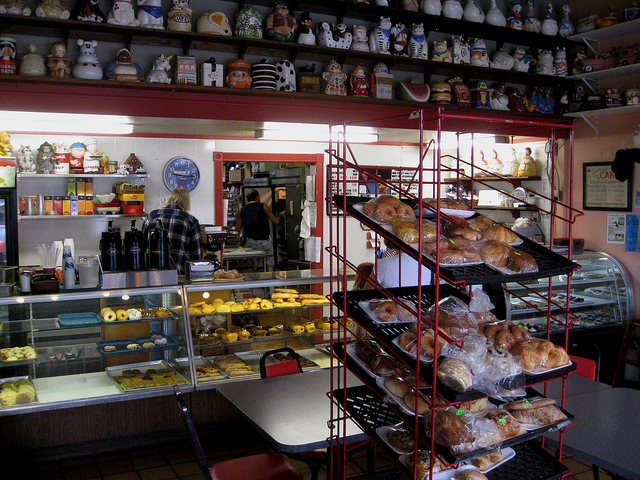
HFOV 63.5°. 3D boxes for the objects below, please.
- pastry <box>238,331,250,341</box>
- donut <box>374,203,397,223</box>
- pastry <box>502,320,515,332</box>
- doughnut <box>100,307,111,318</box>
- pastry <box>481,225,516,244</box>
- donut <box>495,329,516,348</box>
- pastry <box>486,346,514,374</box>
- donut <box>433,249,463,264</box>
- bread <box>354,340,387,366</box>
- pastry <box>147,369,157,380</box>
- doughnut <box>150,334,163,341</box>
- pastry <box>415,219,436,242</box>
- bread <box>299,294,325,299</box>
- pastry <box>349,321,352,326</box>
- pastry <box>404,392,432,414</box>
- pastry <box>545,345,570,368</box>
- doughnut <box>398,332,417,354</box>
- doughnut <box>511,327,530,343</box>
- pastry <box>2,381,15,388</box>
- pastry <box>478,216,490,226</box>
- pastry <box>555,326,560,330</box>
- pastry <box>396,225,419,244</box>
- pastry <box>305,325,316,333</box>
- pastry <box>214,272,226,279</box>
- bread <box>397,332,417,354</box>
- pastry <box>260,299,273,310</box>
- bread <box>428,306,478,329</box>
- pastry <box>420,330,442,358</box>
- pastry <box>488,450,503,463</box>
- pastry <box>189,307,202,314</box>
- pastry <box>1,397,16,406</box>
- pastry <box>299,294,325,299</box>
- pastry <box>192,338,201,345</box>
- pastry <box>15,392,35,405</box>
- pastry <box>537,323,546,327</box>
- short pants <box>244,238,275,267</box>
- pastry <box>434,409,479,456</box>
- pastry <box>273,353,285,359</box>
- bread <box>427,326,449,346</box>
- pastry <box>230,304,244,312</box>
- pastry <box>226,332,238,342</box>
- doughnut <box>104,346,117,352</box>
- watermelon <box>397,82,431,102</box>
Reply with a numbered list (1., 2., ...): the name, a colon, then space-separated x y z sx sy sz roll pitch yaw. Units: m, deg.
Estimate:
1. pastry: -0.613 0.774 4.190 0.067 0.056 0.067 6 11 33
2. donut: 0.250 -0.102 1.983 0.083 0.070 0.062 -2 8 13
3. pastry: 0.732 0.336 2.022 0.038 0.012 0.037 -17 22 -25
4. doughnut: -1.526 0.522 3.703 0.063 0.043 0.062 -12 -2 3
5. pastry: 0.693 -0.018 1.995 0.113 0.068 0.078 -8 8 -23
6. donut: 0.706 0.375 1.962 0.084 0.051 0.059 -6 8 -13
7. pastry: 0.650 0.437 1.874 0.100 0.085 0.071 -3 8 9
8. donut: 0.459 0.062 1.827 0.090 0.046 0.044 -6 8 -13
9. bread: 0.191 0.462 2.136 0.112 0.035 0.109 4 9 -15
10. pastry: -1.234 0.986 3.808 0.067 0.039 0.093 -7 8 -18
11. doughnut: -1.230 0.734 3.865 0.054 0.014 0.050 3 10 36
12. pastry: 0.399 -0.029 1.925 0.072 0.048 0.085 2 6 14
13. bread: -0.077 0.490 4.445 0.116 0.027 0.115 1 0 -42
14. pastry: 0.268 0.730 4.494 0.023 0.036 0.050 -4 8 5
15. pastry: 0.358 0.601 1.905 0.089 0.044 0.088 12 2 -40
16. pastry: 0.880 0.428 1.929 0.082 0.024 0.082 -16 7 -33
17. doughnut: 0.315 0.373 1.867 0.068 0.062 0.054 -2 8 16
18. doughnut: 0.764 0.362 1.970 0.054 0.024 0.053 -6 9 -8
19. pastry: -2.106 0.977 3.490 0.037 0.010 0.043 7 1 -16
20. pastry: 0.654 -0.072 2.065 0.039 0.027 0.039 -5 7 -24
21. pastry: 2.298 0.851 5.009 0.029 0.006 0.027 -3 11 -14
22. pastry: 0.318 -0.017 1.875 0.070 0.055 0.035 -5 28 22
23. pastry: -0.080 0.753 4.402 0.108 0.045 0.089 -6 8 -15
24. pastry: -0.791 0.284 4.097 0.094 0.046 0.059 -7 8 -18
25. bread: 0.315 0.372 1.863 0.065 0.021 0.064 -20 35 -9
26. pastry: -0.441 0.533 4.256 0.096 0.068 0.083 0 9 29
27. bread: 0.501 0.300 1.961 0.126 0.031 0.094 5 18 -25
28. pastry: 0.389 0.372 1.890 0.084 0.066 0.090 -45 -11 16
29. pastry: 0.674 0.830 1.980 0.054 0.038 0.050 -1 1 -36
30. pastry: -0.950 0.545 3.975 0.078 0.045 0.077 -9 9 -33
31. pastry: -2.031 1.052 3.374 0.079 0.041 0.050 -8 9 -28
32. pastry: -0.076 0.491 4.441 0.116 0.027 0.114 2 0 -42
33. pastry: -0.957 0.787 3.998 0.049 0.034 0.046 2 0 5
34. pastry: -1.947 1.044 3.406 0.099 0.062 0.063 -6 8 -13
35. pastry: 2.156 0.817 5.000 0.065 0.025 0.063 -3 7 -27
36. short pants: -0.937 0.188 8.007 0.404 0.486 0.291 10 16 36
37. pastry: 0.474 0.684 1.832 0.118 0.162 0.053 -42 -13 -23
38. pastry: -0.327 0.921 4.118 0.065 0.019 0.063 0 2 -16
39. bread: 0.448 0.366 1.934 0.050 0.062 0.056 -37 5 -30
40. pastry: -0.666 0.550 4.152 0.117 0.050 0.066 -9 9 -30
41. pastry: -0.701 0.780 4.136 0.090 0.062 0.061 -9 9 -31
42. doughnut: -1.527 0.792 3.761 0.055 0.018 0.039 5 3 8
43. watermelon: 0.958 -1.485 5.211 0.340 0.198 0.202 -2 7 -23
